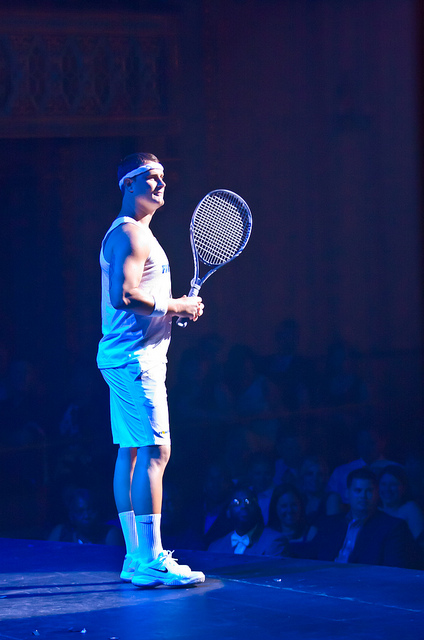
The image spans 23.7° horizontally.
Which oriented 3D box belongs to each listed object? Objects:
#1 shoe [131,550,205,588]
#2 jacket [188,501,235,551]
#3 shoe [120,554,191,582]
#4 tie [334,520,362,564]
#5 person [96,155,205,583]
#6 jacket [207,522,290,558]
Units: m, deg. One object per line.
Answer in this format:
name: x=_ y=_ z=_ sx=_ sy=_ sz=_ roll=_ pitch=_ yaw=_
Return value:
shoe: x=-0.141 y=0.776 z=3.198 sx=0.240 sy=0.122 sz=0.097 roll=-1 pitch=-16 yaw=1
jacket: x=-0.009 y=0.783 z=3.895 sx=0.132 sy=0.192 sz=0.044 roll=6 pitch=1 yaw=25
shoe: x=-0.172 y=0.794 z=3.304 sx=0.258 sy=0.115 sz=0.087 roll=-1 pitch=-6 yaw=-9
tie: x=0.496 y=0.798 z=3.685 sx=0.031 sy=0.147 sz=0.083 roll=14 pitch=-6 yaw=-33
person: x=-0.228 y=0.055 z=3.454 sx=0.330 sy=1.617 sz=0.742 roll=0 pitch=-13 yaw=-7
jacket: x=0.132 y=0.825 z=3.828 sx=0.334 sy=0.126 sz=0.038 roll=-9 pitch=-15 yaw=29
